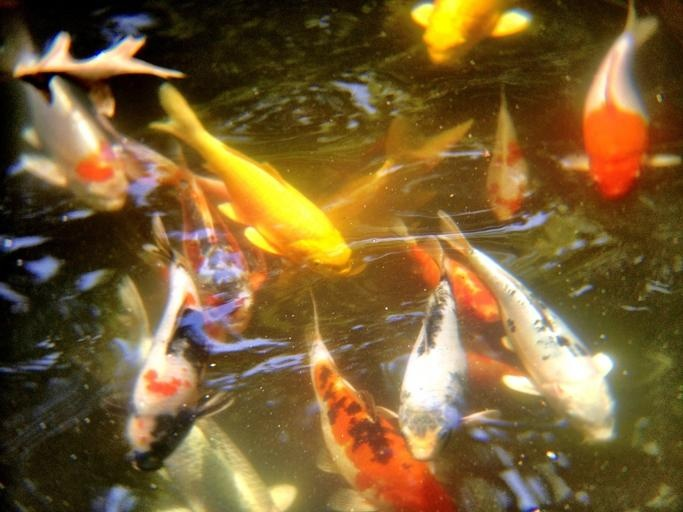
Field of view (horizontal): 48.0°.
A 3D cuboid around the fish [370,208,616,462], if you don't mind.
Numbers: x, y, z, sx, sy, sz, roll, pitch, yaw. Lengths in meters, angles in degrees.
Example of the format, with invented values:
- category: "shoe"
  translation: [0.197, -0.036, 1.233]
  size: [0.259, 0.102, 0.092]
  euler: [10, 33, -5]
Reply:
- category: "fish"
  translation: [0.334, 0.176, 1.576]
  size: [0.174, 0.161, 0.443]
  euler: [-36, 87, -7]

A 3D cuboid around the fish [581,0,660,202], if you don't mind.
- category: "fish"
  translation: [0.538, -0.309, 1.550]
  size: [0.111, 0.153, 0.383]
  euler: [4, 88, 9]

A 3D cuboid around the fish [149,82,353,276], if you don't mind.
- category: "fish"
  translation: [-0.185, -0.142, 1.503]
  size: [0.134, 0.355, 0.375]
  euler: [-41, 45, -25]

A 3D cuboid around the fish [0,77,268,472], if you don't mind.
- category: "fish"
  translation: [-0.408, -0.092, 1.619]
  size: [0.282, 0.432, 0.965]
  euler: [-4, 64, -32]

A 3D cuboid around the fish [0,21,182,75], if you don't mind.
- category: "fish"
  translation: [-0.508, -0.408, 1.513]
  size: [0.372, 0.087, 0.146]
  euler: [-1, 80, -2]
